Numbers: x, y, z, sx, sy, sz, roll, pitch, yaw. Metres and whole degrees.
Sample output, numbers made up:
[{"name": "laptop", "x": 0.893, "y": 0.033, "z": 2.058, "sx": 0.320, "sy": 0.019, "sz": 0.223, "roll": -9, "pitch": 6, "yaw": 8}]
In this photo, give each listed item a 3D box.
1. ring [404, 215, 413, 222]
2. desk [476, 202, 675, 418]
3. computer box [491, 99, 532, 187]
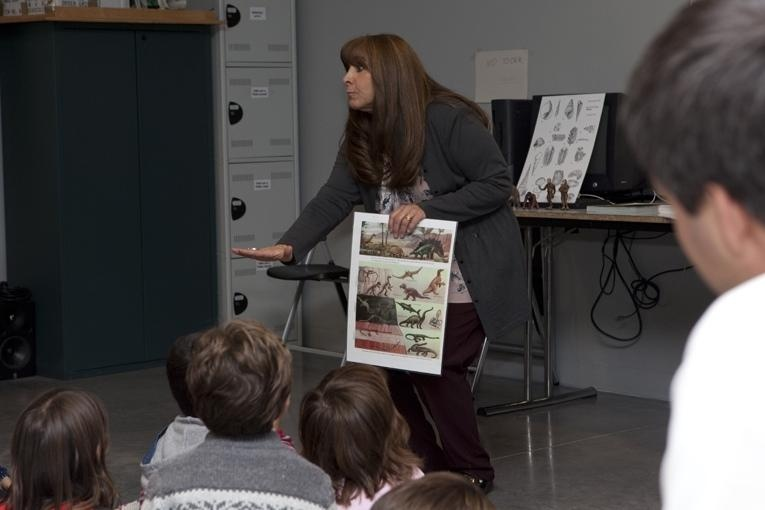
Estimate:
[{"name": "ring", "x": 0.100, "y": -0.146, "z": 2.370, "sx": 0.026, "sy": 0.019, "sz": 0.011, "roll": 16, "pitch": 13, "yaw": -6}, {"name": "desk", "x": 1.071, "y": 0.343, "z": 3.635, "sx": 1.213, "sy": 1.112, "sz": 1.194, "roll": -4, "pitch": 5, "yaw": -41}, {"name": "computer box", "x": 0.845, "y": -0.836, "z": 4.039, "sx": 0.255, "sy": 0.375, "sz": 0.238, "roll": -6, "pitch": 25, "yaw": -1}]
